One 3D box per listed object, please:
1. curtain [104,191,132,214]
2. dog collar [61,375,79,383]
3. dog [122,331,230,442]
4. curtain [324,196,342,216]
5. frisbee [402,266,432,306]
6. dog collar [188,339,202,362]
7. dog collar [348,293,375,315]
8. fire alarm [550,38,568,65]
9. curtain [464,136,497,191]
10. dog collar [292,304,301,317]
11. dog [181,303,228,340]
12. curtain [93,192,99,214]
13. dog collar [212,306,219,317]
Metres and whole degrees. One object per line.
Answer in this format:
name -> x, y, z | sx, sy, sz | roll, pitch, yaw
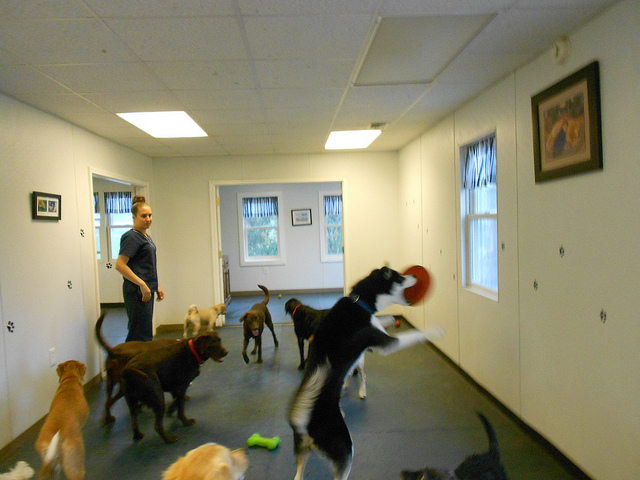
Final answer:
curtain -> -3.835, -0.716, 8.100 | 0.490, 0.475, 0.040 | 0, 5, 0
dog collar -> -1.914, 1.056, 3.283 | 0.103, 0.044, 0.027 | -11, 7, -34
dog -> -1.207, 1.192, 3.543 | 0.347, 0.765, 0.864 | -3, -2, 36
curtain -> 0.237, -0.716, 8.861 | 0.395, 0.405, 0.046 | 0, 4, -5
frisbee -> 0.470, 0.222, 2.082 | 0.128, 0.169, 0.136 | -4, 6, 26
dog collar -> -1.025, 0.902, 3.485 | 0.035, 0.153, 0.140 | -16, -13, 2
dog collar -> 0.193, 0.297, 2.001 | 0.109, 0.102, 0.032 | -6, 6, 3
fire alarm -> 1.668, -1.304, 3.020 | 0.064, 0.171, 0.165 | -6, 6, -2
curtain -> 1.519, -0.720, 4.051 | 0.061, 0.480, 0.538 | 1, -1, -16
dog collar -> -0.230, 0.664, 4.043 | 0.075, 0.086, 0.077 | -7, 6, -5
dog -> -1.532, 1.018, 5.798 | 0.181, 0.435, 0.565 | 17, 13, 42
curtain -> -4.260, -0.696, 8.162 | 0.181, 0.294, 0.061 | -1, 7, 40
dog collar -> -1.433, 0.964, 5.886 | 0.079, 0.164, 0.035 | -8, -1, 16
